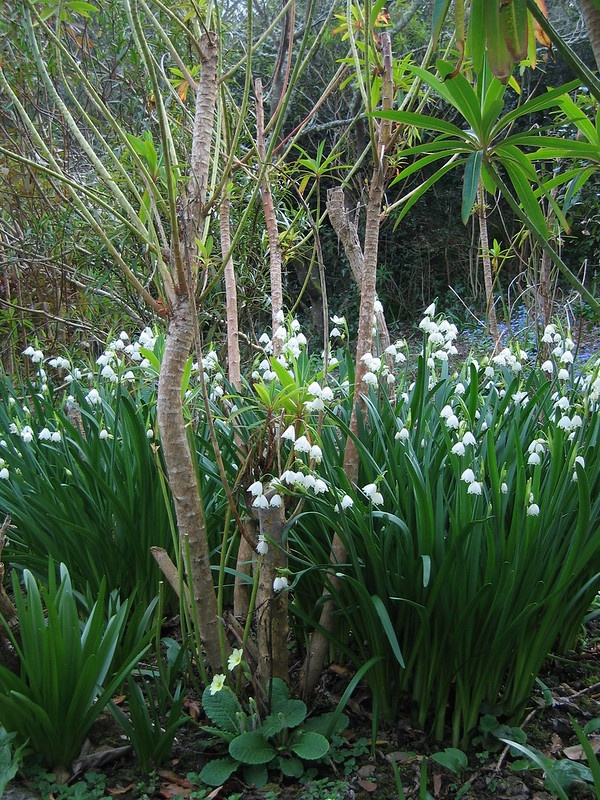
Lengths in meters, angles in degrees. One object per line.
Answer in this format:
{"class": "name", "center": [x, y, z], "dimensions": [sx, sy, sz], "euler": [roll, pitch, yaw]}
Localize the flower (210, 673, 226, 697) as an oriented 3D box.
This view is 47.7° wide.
{"class": "flower", "center": [-0.196, 0.679, 1.620], "dimensions": [0.022, 0.054, 0.053], "euler": [29, -34, -22]}
